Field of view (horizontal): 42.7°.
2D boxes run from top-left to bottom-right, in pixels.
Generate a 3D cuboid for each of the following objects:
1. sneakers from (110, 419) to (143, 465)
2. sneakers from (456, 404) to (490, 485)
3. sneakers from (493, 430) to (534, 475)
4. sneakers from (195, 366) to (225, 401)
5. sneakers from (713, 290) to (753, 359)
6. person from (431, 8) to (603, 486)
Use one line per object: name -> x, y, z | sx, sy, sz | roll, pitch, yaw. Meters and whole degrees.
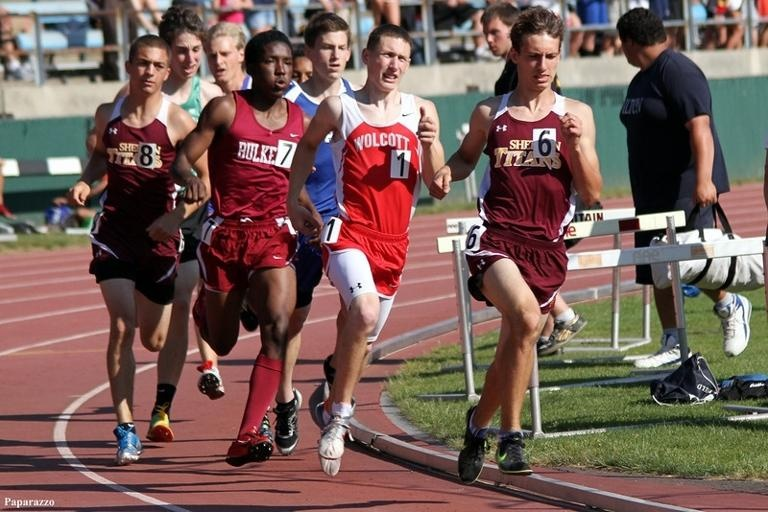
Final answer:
sneakers -> -1.855, 1.367, 7.159 | 0.182, 0.300, 0.250 | -3, 6, -15
sneakers -> 0.577, 1.269, 6.473 | 0.195, 0.526, 0.238 | -1, 5, 4
sneakers -> 0.821, 1.280, 6.305 | 0.127, 0.181, 0.395 | 0, -3, -7
sneakers -> -1.401, 1.045, 7.937 | 0.154, 0.181, 0.360 | -8, -32, -2
sneakers -> 3.053, 0.620, 8.625 | 0.215, 0.658, 0.284 | -16, -37, 41
person -> 0.892, -0.084, 6.489 | 1.059, 3.126, 0.739 | -1, 5, -1
